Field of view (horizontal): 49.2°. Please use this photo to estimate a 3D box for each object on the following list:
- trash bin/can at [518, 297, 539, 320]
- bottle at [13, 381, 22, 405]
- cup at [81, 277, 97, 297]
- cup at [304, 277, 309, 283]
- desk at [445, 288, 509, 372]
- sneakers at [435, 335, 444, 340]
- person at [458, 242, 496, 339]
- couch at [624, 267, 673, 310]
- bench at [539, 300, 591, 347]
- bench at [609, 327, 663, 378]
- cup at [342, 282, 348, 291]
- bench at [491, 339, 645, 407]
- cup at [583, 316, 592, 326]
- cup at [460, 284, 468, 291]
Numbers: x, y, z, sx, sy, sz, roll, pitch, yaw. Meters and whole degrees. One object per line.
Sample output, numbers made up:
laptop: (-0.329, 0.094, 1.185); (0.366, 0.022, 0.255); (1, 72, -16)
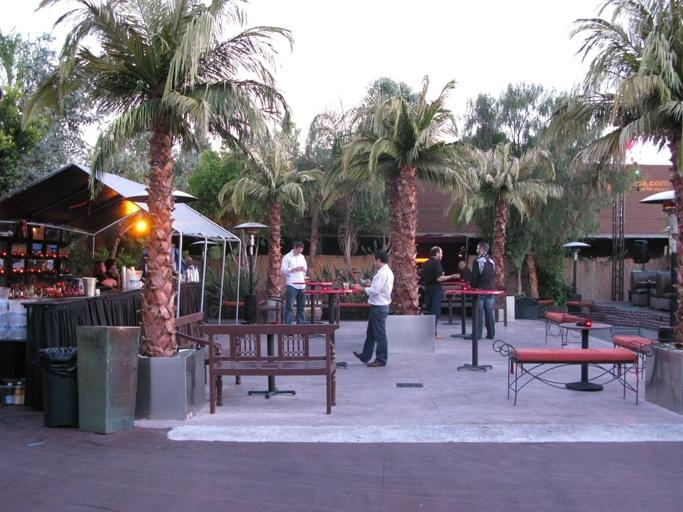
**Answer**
trash bin/can: (6.046, 1.682, 24.158); (0.523, 0.637, 0.666); (2, 2, 22)
bottle: (-5.012, 2.116, 11.537); (0.141, 0.327, 0.117); (-2, 6, -26)
cup: (-4.570, 0.573, 13.621); (0.293, 0.371, 0.299); (-1, -5, 0)
cup: (-0.924, 0.623, 19.767); (0.115, 0.147, 0.132); (3, -2, -2)
desk: (2.598, 1.413, 14.458); (1.284, 1.873, 1.274); (0, -2, -39)
sneakers: (2.400, 1.998, 18.320); (0.193, 0.149, 0.070); (-8, -6, 41)
person: (3.212, 0.784, 17.077); (0.585, 2.257, 0.598); (0, 0, -19)
couch: (10.661, 1.159, 25.815); (1.060, 1.009, 1.164); (0, 4, -15)
bench: (5.202, 1.548, 17.076); (0.419, 1.006, 1.345); (3, -1, 3)
bench: (5.166, 1.702, 13.066); (0.455, 0.624, 0.861); (1, -1, 1)
cup: (0.108, 0.684, 17.259); (0.121, 0.166, 0.134); (0, 0, -16)
bench: (3.837, 1.794, 12.381); (2.109, 0.994, 3.299); (3, 6, 20)
cup: (4.064, 1.059, 12.251); (0.147, 0.134, 0.099); (0, 5, 19)
cup: (3.131, 0.780, 18.998); (0.108, 0.140, 0.228); (-2, -19, 5)
